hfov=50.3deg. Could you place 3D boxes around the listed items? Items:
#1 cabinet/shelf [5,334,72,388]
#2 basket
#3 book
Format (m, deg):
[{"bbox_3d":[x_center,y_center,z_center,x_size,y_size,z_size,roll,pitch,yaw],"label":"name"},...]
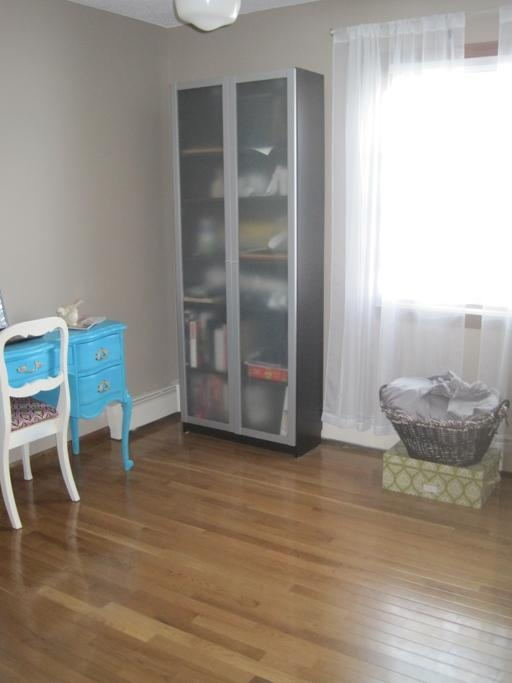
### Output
[{"bbox_3d":[-0.950,0.086,2.342,0.179,0.138,0.268,8,16,32],"label":"cabinet/shelf"},{"bbox_3d":[0.771,0.306,2.388,0.417,0.253,0.415,7,10,39],"label":"basket"},{"bbox_3d":[-0.181,-0.026,3.430,0.328,0.495,0.318,6,12,31],"label":"book"}]
